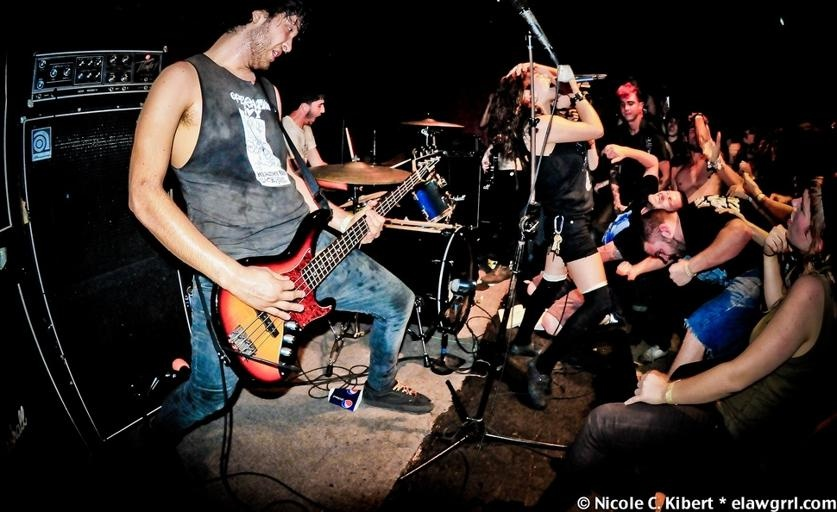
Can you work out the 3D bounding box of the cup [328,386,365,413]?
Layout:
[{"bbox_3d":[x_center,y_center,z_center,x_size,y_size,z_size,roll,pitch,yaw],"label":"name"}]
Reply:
[{"bbox_3d":[-0.651,1.284,4.693,0.257,0.095,0.165,11,42,20],"label":"cup"}]

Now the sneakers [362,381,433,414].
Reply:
[{"bbox_3d":[-0.174,1.222,4.588,0.693,0.246,0.241,11,9,-14],"label":"sneakers"}]

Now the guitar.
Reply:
[{"bbox_3d":[-0.690,0.192,4.230,2.540,0.902,0.350,-42,35,-21],"label":"guitar"}]

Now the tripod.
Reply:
[{"bbox_3d":[0.166,0.931,4.600,1.382,1.629,1.336,29,-5,18],"label":"tripod"}]

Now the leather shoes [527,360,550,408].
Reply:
[{"bbox_3d":[1.044,1.121,4.676,0.193,0.411,0.160,-7,-8,29],"label":"leather shoes"}]
